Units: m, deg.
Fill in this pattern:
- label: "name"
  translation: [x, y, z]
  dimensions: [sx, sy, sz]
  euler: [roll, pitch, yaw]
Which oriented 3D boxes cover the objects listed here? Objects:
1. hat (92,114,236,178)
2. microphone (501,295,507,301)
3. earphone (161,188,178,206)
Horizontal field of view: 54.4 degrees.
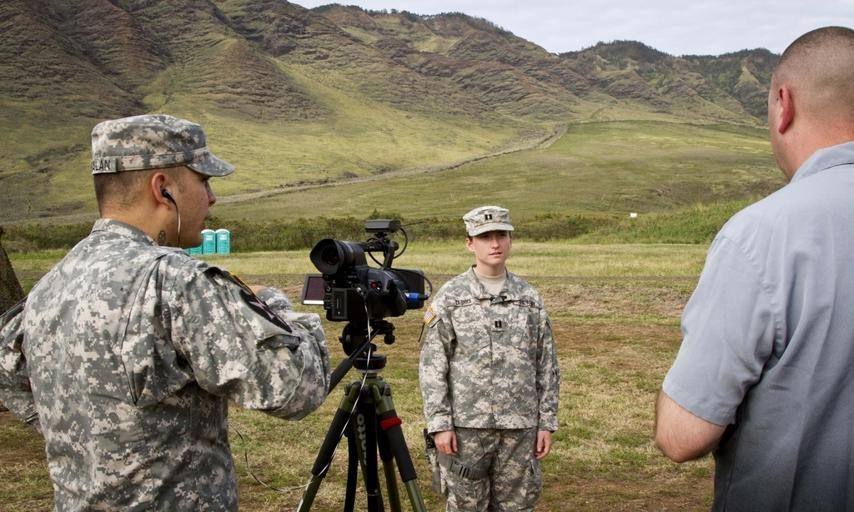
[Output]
- label: "hat"
  translation: [-1.563, -0.629, 4.899]
  dimensions: [0.676, 0.265, 0.419]
  euler: [-6, 7, -29]
- label: "microphone"
  translation: [0.613, 0.332, 6.617]
  dimensions: [0.042, 0.038, 0.044]
  euler: [0, 1, -15]
- label: "earphone"
  translation: [-1.505, -0.345, 4.899]
  dimensions: [0.041, 0.138, 0.038]
  euler: [-45, 12, -4]
